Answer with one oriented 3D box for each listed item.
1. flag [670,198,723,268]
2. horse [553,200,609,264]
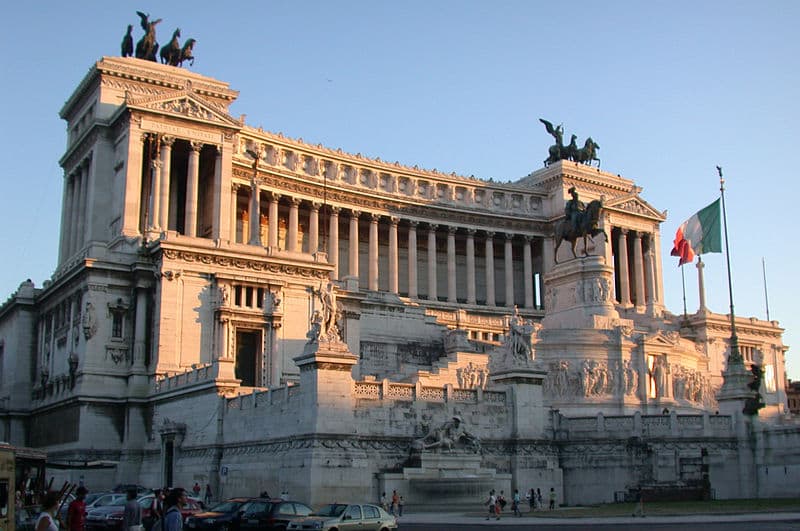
[{"bbox_3d":[26.270,-2.604,107.257,0.505,4.805,6.783,8,-15,-25],"label":"flag"},{"bbox_3d":[15.757,-3.068,105.548,1.703,4.867,6.910,10,-15,-28],"label":"horse"}]
